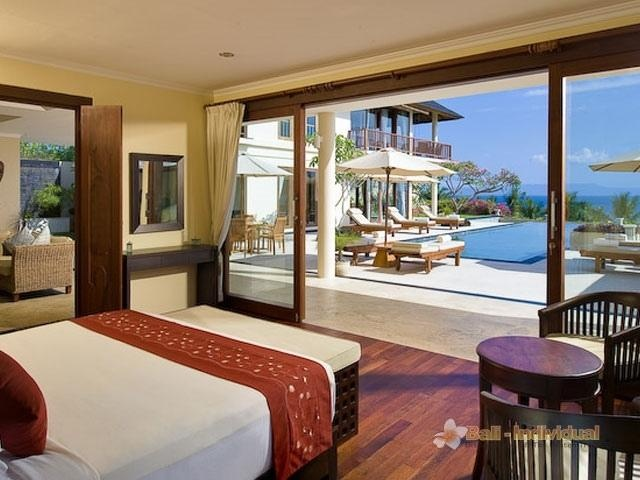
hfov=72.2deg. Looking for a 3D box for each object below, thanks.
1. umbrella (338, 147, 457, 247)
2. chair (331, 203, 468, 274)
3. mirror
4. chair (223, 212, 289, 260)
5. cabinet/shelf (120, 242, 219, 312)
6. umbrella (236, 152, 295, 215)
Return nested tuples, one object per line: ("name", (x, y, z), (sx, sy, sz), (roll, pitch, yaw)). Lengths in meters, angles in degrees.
("umbrella", (1.496, -1.228, 10.531), (2.837, 2.252, 2.697), (-1, 3, -27))
("chair", (1.654, 0.139, 9.590), (2.077, 0.984, 2.064), (1, 3, 27))
("mirror", (-2.197, -0.639, 5.855), (0.194, 1.027, 0.822), (8, 17, 37))
("chair", (-0.847, -0.063, 5.942), (0.668, 0.403, 0.632), (1, 2, 22))
("cabinet/shelf", (-1.980, 0.460, 5.713), (0.315, 0.752, 0.990), (1, 2, 41))
("umbrella", (-0.595, -0.709, 6.125), (0.887, 0.592, 0.875), (2, 1, 41))
